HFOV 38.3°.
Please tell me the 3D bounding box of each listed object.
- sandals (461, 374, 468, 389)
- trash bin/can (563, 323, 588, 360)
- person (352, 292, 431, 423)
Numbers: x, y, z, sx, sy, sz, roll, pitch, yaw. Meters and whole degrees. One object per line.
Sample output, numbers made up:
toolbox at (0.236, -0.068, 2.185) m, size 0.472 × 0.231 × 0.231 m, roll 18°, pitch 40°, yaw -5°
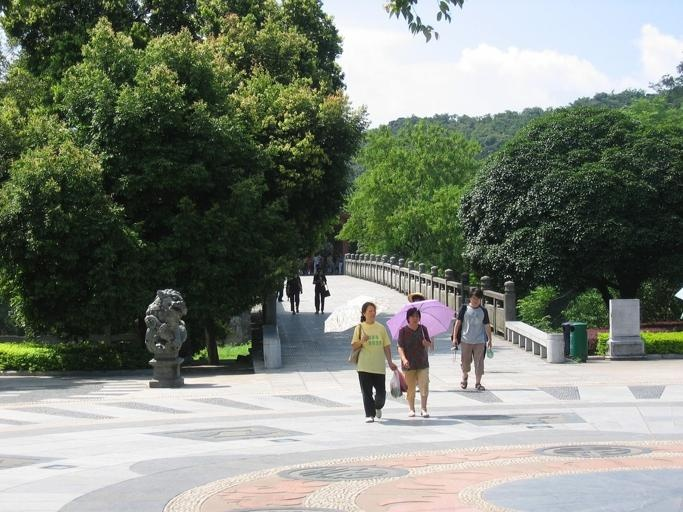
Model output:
sandals at (2.861, 2.804, 22.787) m, size 0.131 × 0.150 × 0.414 m, roll 5°, pitch 31°, yaw 5°
trash bin/can at (6.360, 2.321, 26.802) m, size 0.606 × 1.049 × 0.424 m, roll 0°, pitch 4°, yaw 15°
person at (0.703, 2.087, 19.896) m, size 0.998 × 2.356 × 1.018 m, roll -1°, pitch 4°, yaw 5°
